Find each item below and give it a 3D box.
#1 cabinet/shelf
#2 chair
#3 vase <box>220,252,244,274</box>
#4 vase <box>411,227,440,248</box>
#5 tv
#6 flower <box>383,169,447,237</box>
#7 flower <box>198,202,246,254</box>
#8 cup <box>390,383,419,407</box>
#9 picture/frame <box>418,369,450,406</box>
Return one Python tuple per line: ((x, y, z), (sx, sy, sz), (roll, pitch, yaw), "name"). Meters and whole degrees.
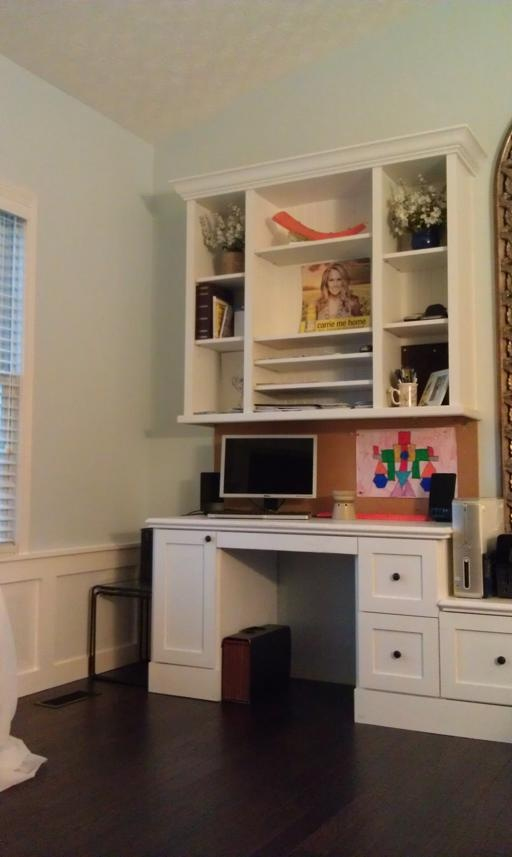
((0.378, -0.698, 3.061), (1.355, 1.325, 0.414), (-2, -5, 28), "cabinet/shelf")
((-0.696, 0.933, 3.337), (0.318, 0.689, 0.634), (1, -8, 1), "chair")
((-0.119, -0.842, 3.384), (0.123, 0.109, 0.125), (0, 1, -15), "vase")
((0.738, -0.816, 2.882), (0.101, 0.110, 0.101), (-3, 5, -43), "vase")
((0.051, 0.175, 3.086), (0.477, 0.303, 0.033), (-4, -9, 21), "tv")
((0.709, -0.944, 2.915), (0.236, 0.308, 0.256), (-3, 4, 22), "flower")
((-0.170, -1.021, 3.389), (0.215, 0.254, 0.065), (-11, -28, 20), "flower")
((0.628, -0.144, 2.783), (0.123, 0.133, 0.083), (0, 1, -11), "cup")
((0.760, -0.171, 2.799), (0.015, 0.157, 0.113), (27, -40, -15), "picture/frame")
